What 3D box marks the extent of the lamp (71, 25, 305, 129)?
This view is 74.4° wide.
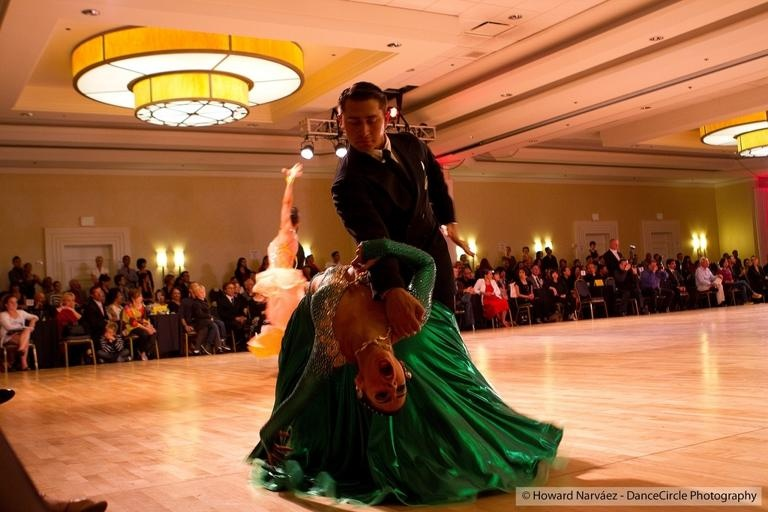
[{"bbox_3d":[-3.565,-3.224,9.262,4.018,1.024,2.087,-2,-5,-4],"label":"lamp"}]

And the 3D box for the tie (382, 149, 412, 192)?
[{"bbox_3d":[0.050,-0.346,2.129,0.100,0.179,0.043,-24,11,1],"label":"tie"}]

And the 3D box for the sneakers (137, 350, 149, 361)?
[{"bbox_3d":[-5.200,2.103,10.858,0.133,0.158,0.394,3,-7,-40],"label":"sneakers"}]
